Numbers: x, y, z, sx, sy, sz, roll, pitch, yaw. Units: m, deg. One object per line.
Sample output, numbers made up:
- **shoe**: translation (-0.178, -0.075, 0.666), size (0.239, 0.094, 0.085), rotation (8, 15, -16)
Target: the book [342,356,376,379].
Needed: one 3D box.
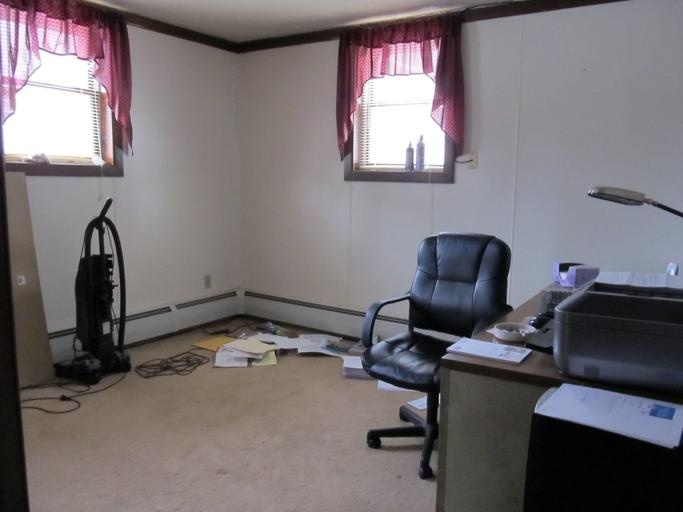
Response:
- **book**: translation (0.116, 0.851, 4.073), size (0.225, 0.063, 0.251), rotation (0, 5, 2)

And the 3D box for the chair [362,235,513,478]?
- **chair**: translation (0.553, 0.525, 3.095), size (0.681, 1.300, 0.720), rotation (10, 12, 41)
